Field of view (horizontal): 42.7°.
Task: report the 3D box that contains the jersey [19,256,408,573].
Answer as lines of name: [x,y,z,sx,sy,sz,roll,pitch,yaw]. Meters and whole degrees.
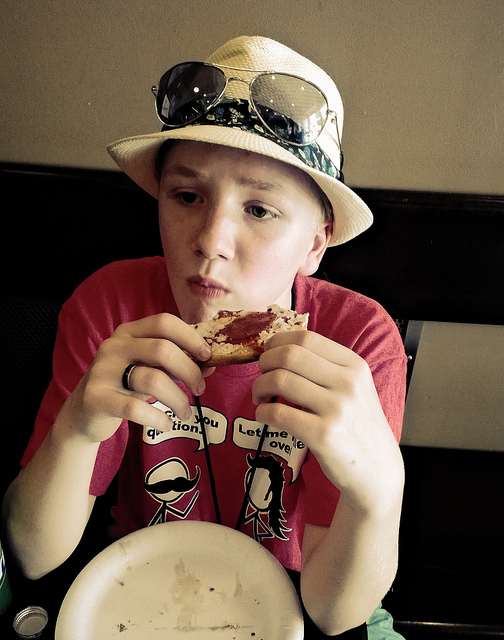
jersey: [-0.104,0.266,1.722,0.954,0.694,0.691,13,26,14]

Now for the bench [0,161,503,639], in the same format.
bench: [-0.038,0.162,1.603,1.456,0.969,0.599,1,36,0]

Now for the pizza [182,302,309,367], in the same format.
pizza: [-0.017,0.010,1.324,0.198,0.051,0.124,-24,46,-8]

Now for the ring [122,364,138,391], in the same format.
ring: [-0.246,0.114,1.291,0.020,0.049,0.041,9,14,13]

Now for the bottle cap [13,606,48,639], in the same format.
bottle cap: [-0.427,0.581,1.238,0.060,0.015,0.062,-15,32,-39]
